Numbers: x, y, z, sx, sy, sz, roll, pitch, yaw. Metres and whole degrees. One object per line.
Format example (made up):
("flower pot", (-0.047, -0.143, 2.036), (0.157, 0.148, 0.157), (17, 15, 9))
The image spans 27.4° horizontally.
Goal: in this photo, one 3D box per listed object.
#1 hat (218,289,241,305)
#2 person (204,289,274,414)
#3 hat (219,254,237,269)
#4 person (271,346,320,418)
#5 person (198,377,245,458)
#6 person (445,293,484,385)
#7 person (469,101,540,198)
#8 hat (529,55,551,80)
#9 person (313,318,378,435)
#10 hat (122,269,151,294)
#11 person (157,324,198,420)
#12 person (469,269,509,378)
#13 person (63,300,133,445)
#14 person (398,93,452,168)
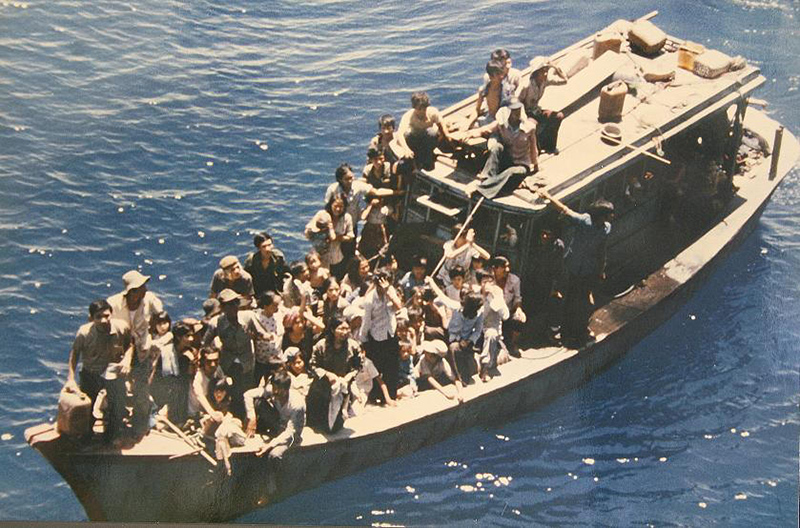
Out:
("hat", (-1.767, 0.327, 16.984), (0.205, 0.090, 0.143), (-18, 0, 23))
("person", (-1.717, 0.986, 17.113), (0.771, 1.317, 0.483), (-5, 11, -9))
("hat", (-1.798, -0.008, 17.274), (0.183, 0.169, 0.182), (8, 30, -7))
("person", (-1.070, 1.186, 17.018), (0.522, 0.627, 0.295), (-3, 10, -9))
("person", (-1.846, 1.622, 16.868), (0.627, 0.747, 0.309), (2, 7, 4))
("person", (0.708, 0.762, 17.540), (0.428, 0.985, 0.450), (11, 32, -4))
("person", (1.137, -1.229, 17.721), (0.610, 0.983, 0.577), (-16, 42, -39))
("hat", (1.554, -2.186, 18.186), (0.107, 0.235, 0.271), (40, 52, 11))
("person", (-0.615, 1.153, 17.119), (0.710, 1.137, 0.656), (12, 31, -1))
("hat", (-2.746, 0.160, 17.044), (0.249, 0.121, 0.257), (-28, -7, 38))
("person", (-2.311, 1.115, 16.927), (0.389, 1.085, 0.395), (9, 32, -8))
("person", (0.805, 0.630, 17.744), (0.429, 1.048, 0.492), (0, 13, -15))
("person", (-3.002, 1.055, 16.953), (0.761, 1.344, 0.595), (28, 35, 23))
("person", (0.303, -1.523, 18.110), (0.721, 0.691, 0.628), (-4, -2, 8))
